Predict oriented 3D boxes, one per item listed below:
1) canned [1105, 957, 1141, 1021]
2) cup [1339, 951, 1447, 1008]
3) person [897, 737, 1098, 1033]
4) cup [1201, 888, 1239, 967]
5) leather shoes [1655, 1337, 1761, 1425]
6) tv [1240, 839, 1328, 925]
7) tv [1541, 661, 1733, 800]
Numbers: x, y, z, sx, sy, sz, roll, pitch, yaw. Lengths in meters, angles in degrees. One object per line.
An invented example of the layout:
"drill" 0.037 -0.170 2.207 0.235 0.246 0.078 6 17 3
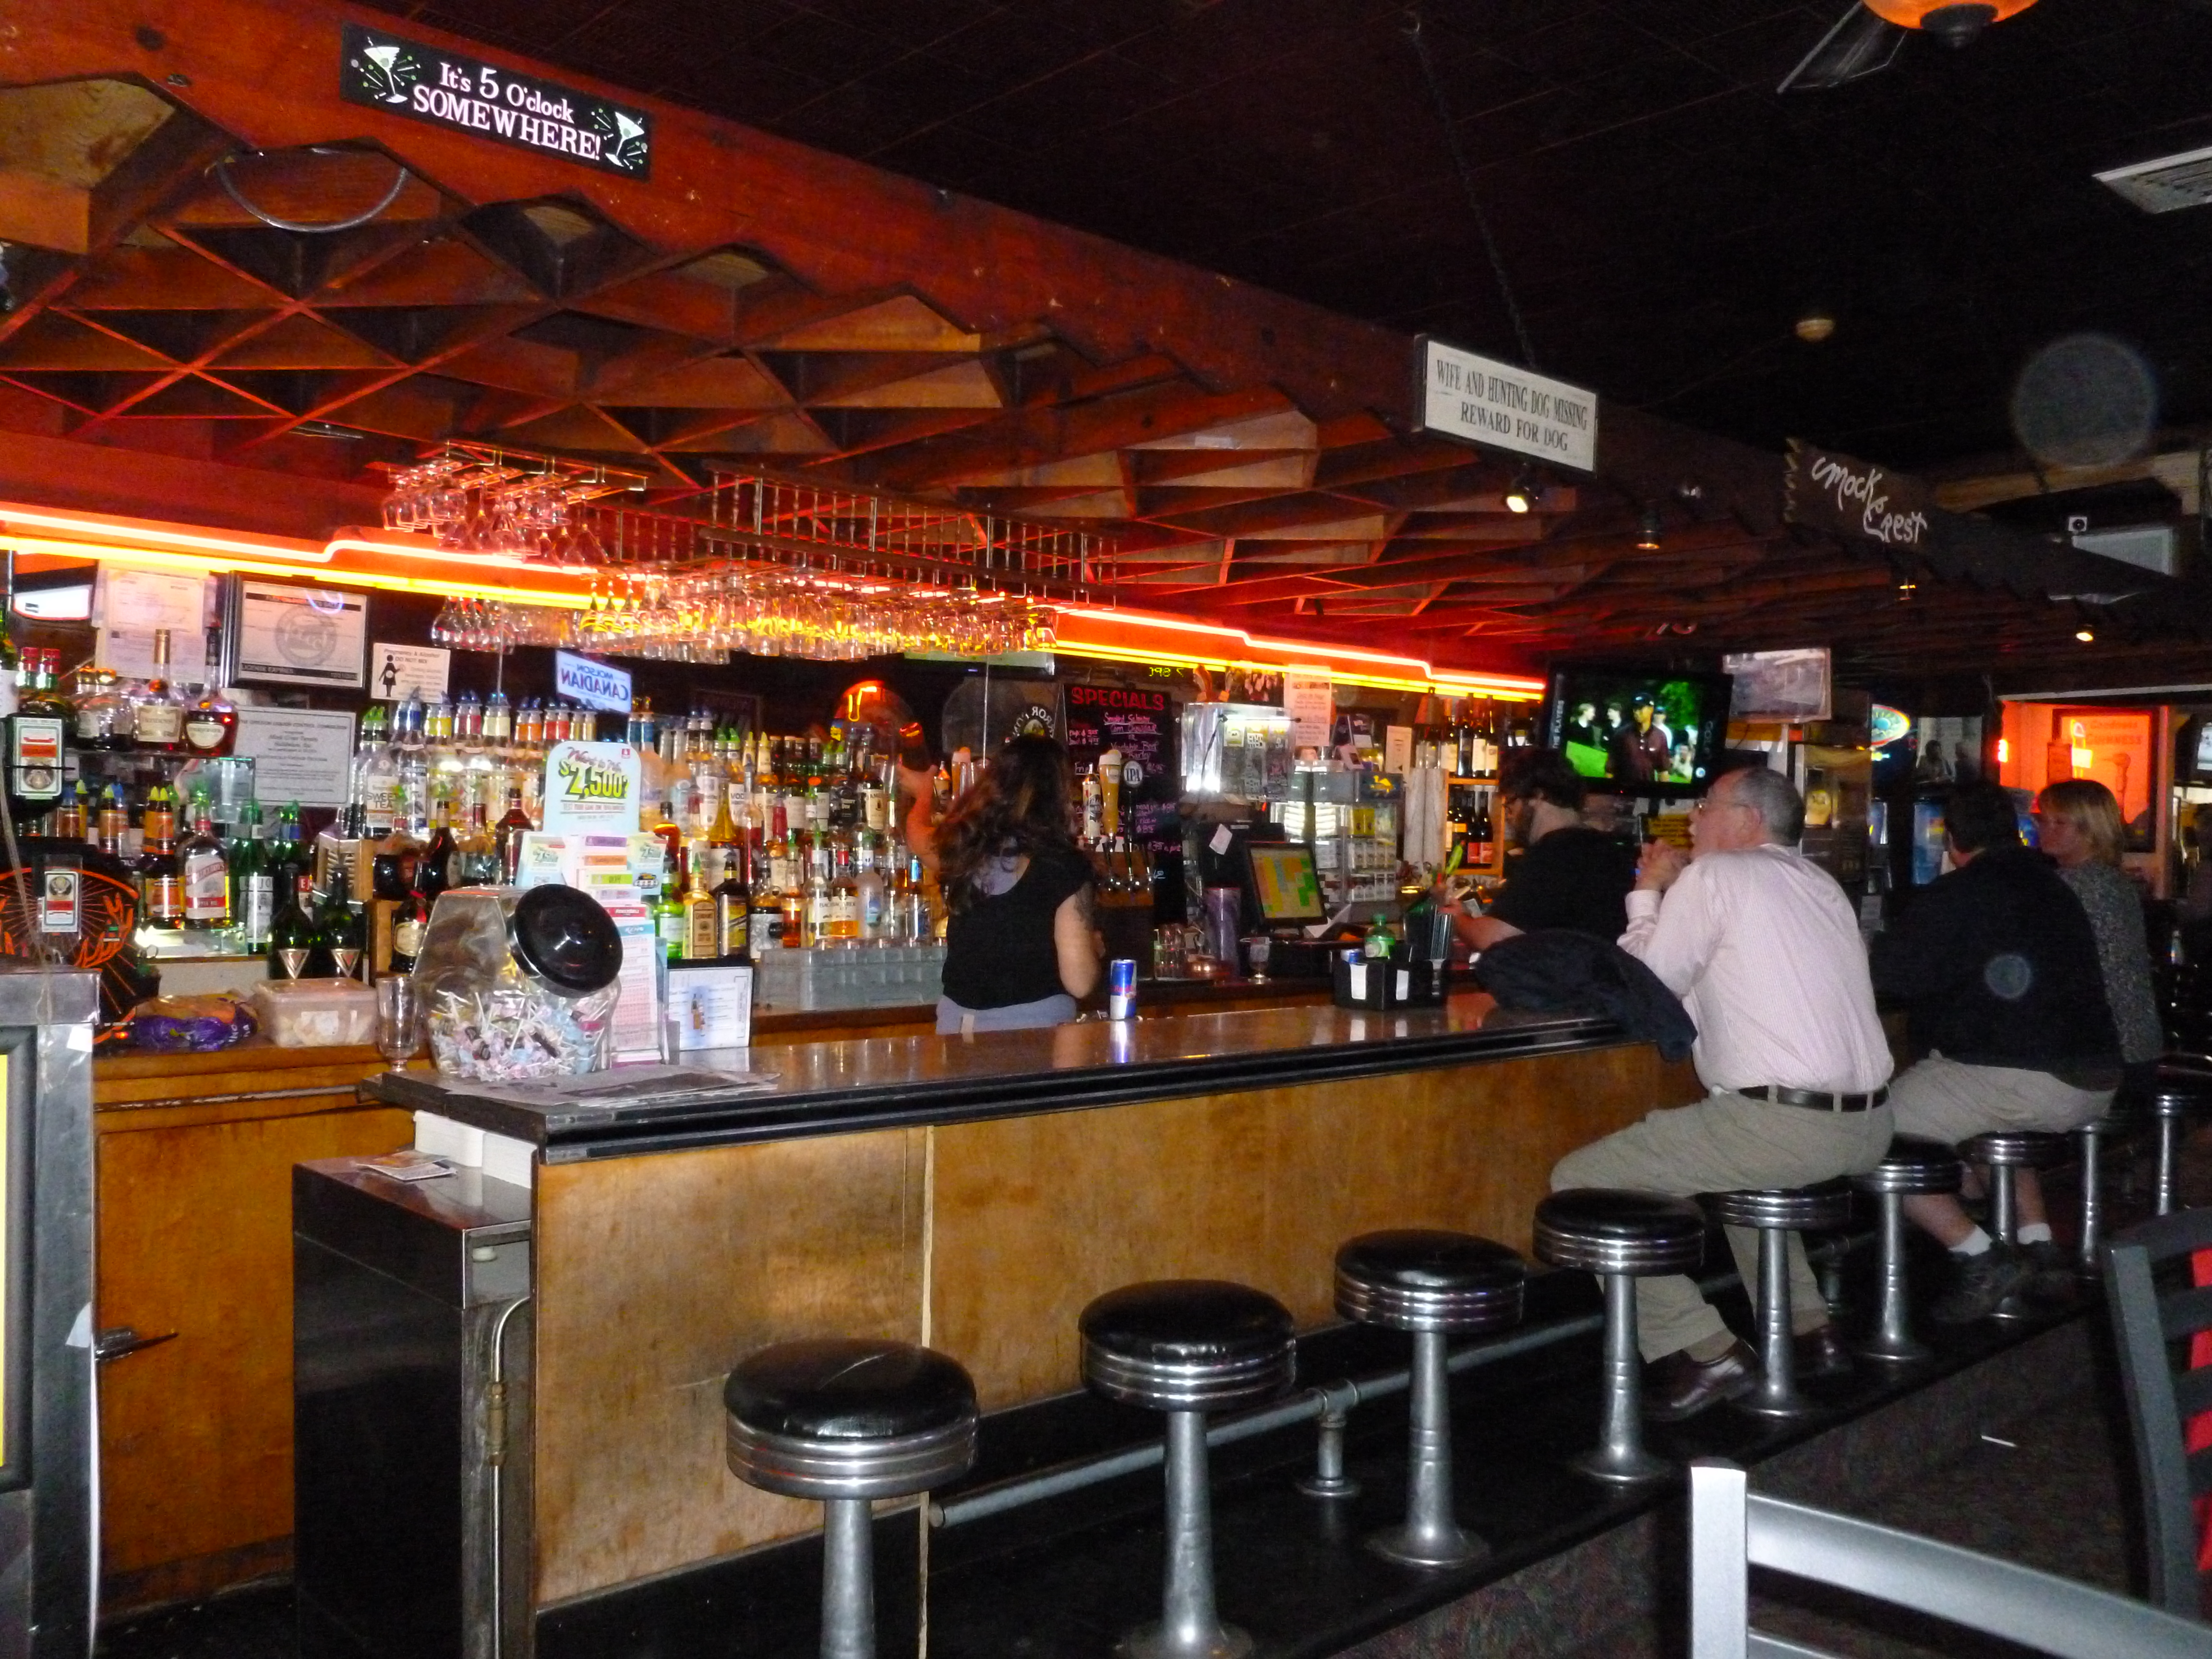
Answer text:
"canned" 0.053 0.461 5.328 0.062 0.170 0.127 -1 1 -8
"cup" 0.890 0.440 5.933 0.280 0.115 0.188 2 -2 -39
"person" -0.276 0.159 5.771 0.481 0.918 0.433 -1 1 -6
"cup" 0.522 0.425 8.221 0.122 0.337 0.231 -1 1 -4
"leather shoes" 1.664 1.566 5.288 0.390 0.167 0.142 -16 -9 -15
"tv" 0.864 0.250 8.839 0.140 0.396 0.561 0 1 33
"tv" 2.994 -0.584 10.622 1.115 0.633 0.132 -2 8 -19
